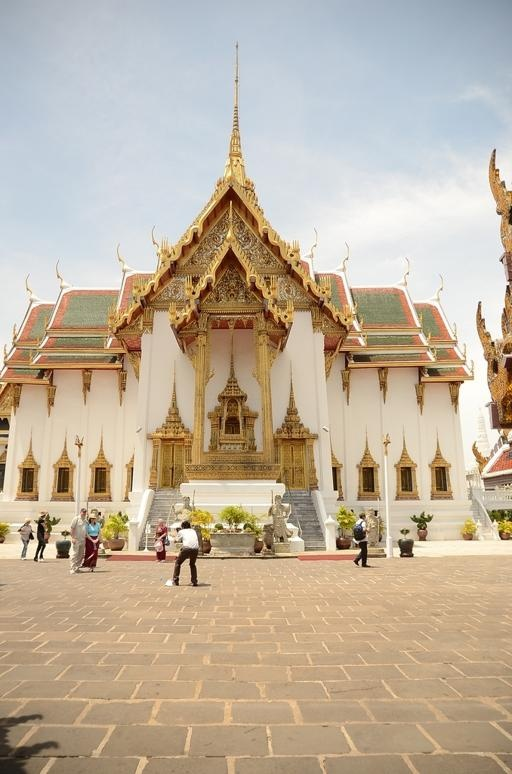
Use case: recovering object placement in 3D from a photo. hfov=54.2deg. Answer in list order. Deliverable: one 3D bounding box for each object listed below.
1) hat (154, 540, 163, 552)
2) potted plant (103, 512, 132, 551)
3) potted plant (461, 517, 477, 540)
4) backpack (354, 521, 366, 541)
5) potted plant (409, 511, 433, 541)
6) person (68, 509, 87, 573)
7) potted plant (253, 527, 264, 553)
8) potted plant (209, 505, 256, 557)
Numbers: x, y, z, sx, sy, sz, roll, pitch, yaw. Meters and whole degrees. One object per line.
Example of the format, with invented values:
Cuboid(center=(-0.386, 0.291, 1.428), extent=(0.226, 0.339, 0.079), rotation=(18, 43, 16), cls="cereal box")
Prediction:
Cuboid(center=(-2.170, 3.545, 11.154), extent=(0.171, 0.289, 0.372), rotation=(0, -14, -10), cls="hat")
Cuboid(center=(-4.094, 4.224, 14.447), extent=(0.750, 0.968, 1.000), rotation=(2, -14, -16), cls="potted plant")
Cuboid(center=(8.574, 5.670, 19.976), extent=(0.607, 0.808, 0.399), rotation=(-7, -14, 20), cls="potted plant")
Cuboid(center=(2.140, 2.957, 10.223), extent=(0.223, 0.401, 0.274), rotation=(-4, -14, 9), cls="backpack")
Cuboid(center=(6.766, 5.586, 20.121), extent=(0.828, 1.057, 0.408), rotation=(-5, -14, 13), cls="potted plant")
Cuboid(center=(-3.360, 2.891, 9.433), extent=(0.269, 1.132, 0.612), rotation=(3, -14, -20), cls="person")
Cuboid(center=(0.062, 4.059, 13.062), extent=(0.386, 0.450, 0.396), rotation=(-1, -6, -8), cls="potted plant")
Cuboid(center=(-0.555, 3.707, 12.945), extent=(1.285, 1.178, 1.204), rotation=(2, -14, -18), cls="potted plant")
